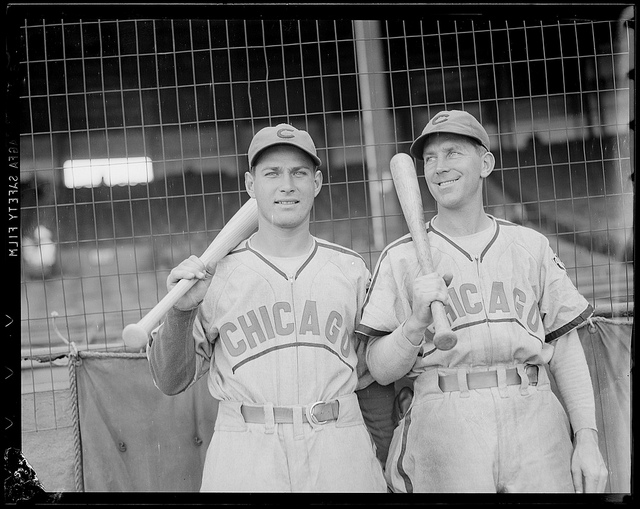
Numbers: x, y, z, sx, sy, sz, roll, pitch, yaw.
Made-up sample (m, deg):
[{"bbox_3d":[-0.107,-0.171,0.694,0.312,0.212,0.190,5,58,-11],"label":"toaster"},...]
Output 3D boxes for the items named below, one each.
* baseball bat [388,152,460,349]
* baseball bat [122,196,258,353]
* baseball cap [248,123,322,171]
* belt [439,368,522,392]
[{"bbox_3d":[0.405,-0.105,5.247,0.161,1.160,0.157,-12,-23,6],"label":"baseball bat"},{"bbox_3d":[-0.528,0.074,5.398,0.957,0.138,0.142,-43,-20,-37],"label":"baseball bat"},{"bbox_3d":[-0.162,-0.469,5.456,0.306,0.228,0.424,0,-11,-10],"label":"baseball cap"},{"bbox_3d":[0.670,0.520,5.301,0.340,0.085,0.036,-3,-3,4],"label":"belt"}]
